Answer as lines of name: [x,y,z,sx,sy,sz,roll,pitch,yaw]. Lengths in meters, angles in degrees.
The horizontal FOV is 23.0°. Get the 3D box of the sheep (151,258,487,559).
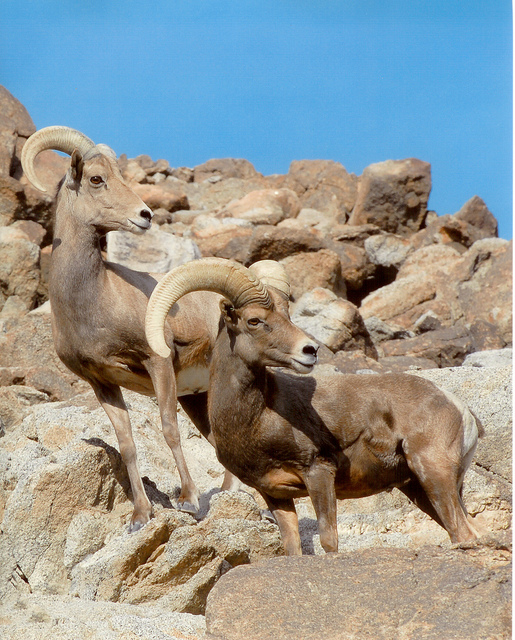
sheep: [0.474,0.721,8.456,2.480,2.110,0.918,0,2,-14]

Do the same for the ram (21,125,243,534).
ram: [-0.877,-0.126,9.994,1.389,3.706,1.653,-4,16,-3]
